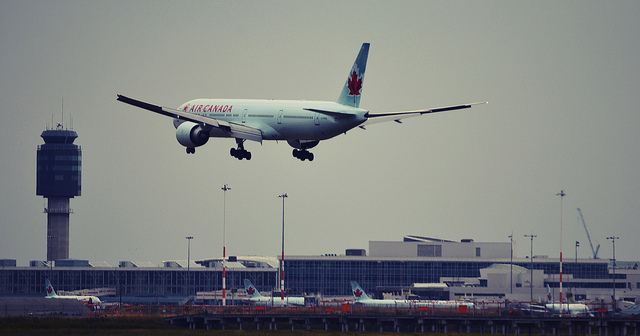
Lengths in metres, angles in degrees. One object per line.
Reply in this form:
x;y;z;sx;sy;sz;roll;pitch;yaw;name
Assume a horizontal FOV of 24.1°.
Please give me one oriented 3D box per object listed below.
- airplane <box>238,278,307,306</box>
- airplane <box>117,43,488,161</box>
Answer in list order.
-7.285;19.533;229.585;13.855;4.357;4.668;0;-2;1;airplane
-6.929;-8.048;200.789;30.434;10.140;34.874;-3;-4;20;airplane
